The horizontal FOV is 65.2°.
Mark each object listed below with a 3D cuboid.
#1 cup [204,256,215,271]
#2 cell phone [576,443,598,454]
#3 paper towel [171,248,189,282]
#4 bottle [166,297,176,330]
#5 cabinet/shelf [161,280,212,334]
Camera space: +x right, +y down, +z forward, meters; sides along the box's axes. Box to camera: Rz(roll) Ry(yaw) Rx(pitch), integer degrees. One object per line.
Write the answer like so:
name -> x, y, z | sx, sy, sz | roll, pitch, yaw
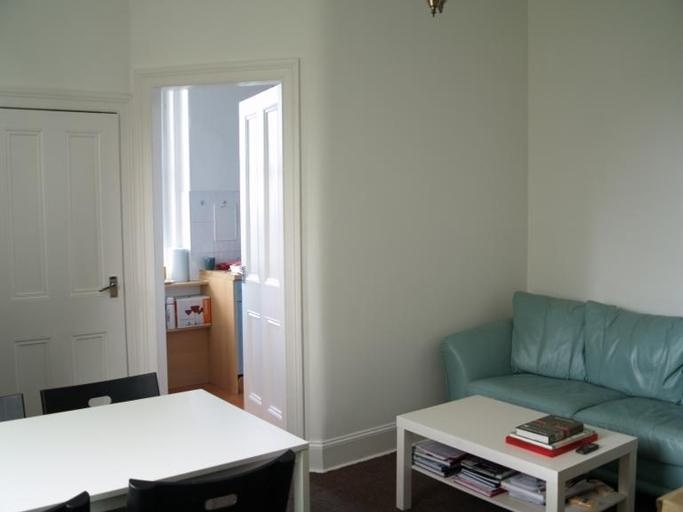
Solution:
cup -> -1.457, 0.076, 5.879 | 0.125, 0.130, 0.163 | -4, 9, -15
cell phone -> 1.312, 1.017, 2.853 | 0.088, 0.022, 0.050 | -11, 11, -29
paper towel -> -1.751, 0.095, 5.804 | 0.212, 0.356, 0.085 | -8, 11, -37
bottle -> -1.771, 0.603, 5.532 | 0.097, 0.321, 0.095 | -2, 9, 0
cabinet/shelf -> -1.644, 0.479, 5.855 | 0.614, 0.625, 0.465 | -2, 0, -26
